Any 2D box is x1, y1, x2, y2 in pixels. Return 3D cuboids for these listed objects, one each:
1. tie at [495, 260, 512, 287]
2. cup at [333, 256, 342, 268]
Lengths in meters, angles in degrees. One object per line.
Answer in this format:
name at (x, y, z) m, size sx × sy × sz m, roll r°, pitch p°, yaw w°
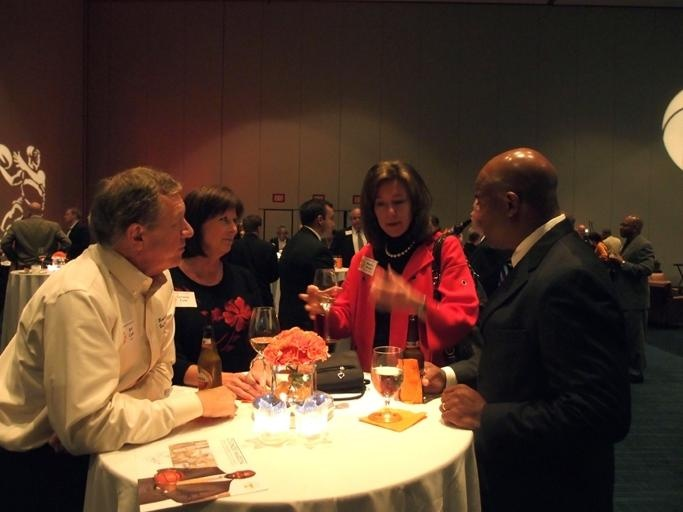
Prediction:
tie at (1.142, 0.111, 4.057) m, size 0.050 × 0.173 × 0.116 m, roll 32°, pitch 20°, yaw 34°
cup at (-0.040, 0.070, 7.121) m, size 0.118 × 0.155 × 0.131 m, roll 2°, pitch -2°, yaw -7°
